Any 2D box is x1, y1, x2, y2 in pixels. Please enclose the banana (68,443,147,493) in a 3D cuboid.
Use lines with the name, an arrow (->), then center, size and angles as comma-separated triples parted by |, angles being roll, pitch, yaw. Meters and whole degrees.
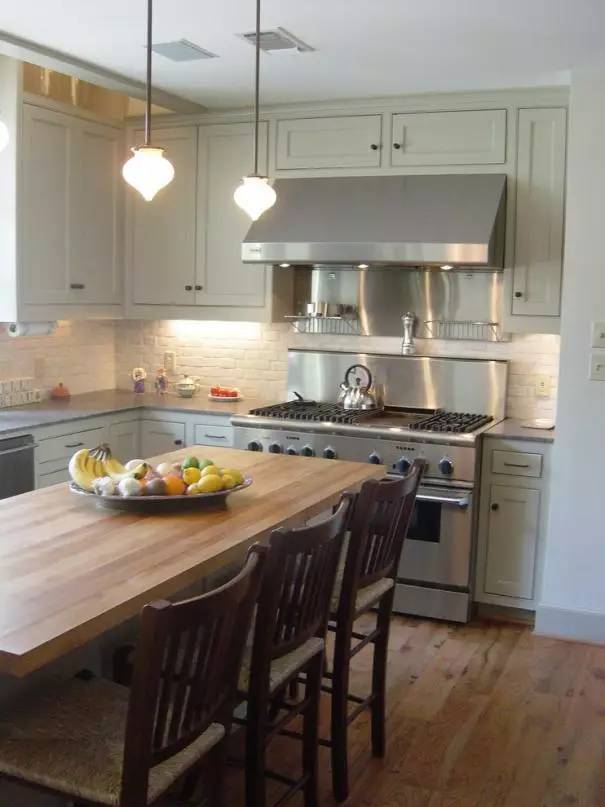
banana -> -0.563, 0.185, 1.922 | 0.198, 0.142, 0.201 | 7, 16, 24

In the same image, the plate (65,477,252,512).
plate -> -0.404, 0.237, 1.961 | 0.448, 0.061, 0.379 | 4, 10, 24

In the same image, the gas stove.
gas stove -> 0.346, 0.224, 3.696 | 1.327, 0.312, 0.724 | 4, 8, 26

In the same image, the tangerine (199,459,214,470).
tangerine -> -0.282, 0.189, 1.956 | 0.035, 0.039, 0.034 | -14, 23, -28

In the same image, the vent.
vent -> 0.359, -0.992, 3.496 | 1.344, 0.586, 0.316 | 2, 3, 23

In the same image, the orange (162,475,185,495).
orange -> -0.357, 0.231, 1.824 | 0.051, 0.051, 0.053 | -5, -29, 27

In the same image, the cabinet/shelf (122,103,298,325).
cabinet/shelf -> -0.472, -1.100, 4.526 | 1.617, 1.774, 0.582 | 4, 6, 23

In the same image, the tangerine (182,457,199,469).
tangerine -> -0.332, 0.179, 1.988 | 0.031, 0.048, 0.049 | 5, 10, 3

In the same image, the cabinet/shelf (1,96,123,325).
cabinet/shelf -> -1.601, -1.019, 3.911 | 0.425, 1.323, 0.954 | 4, 6, 26

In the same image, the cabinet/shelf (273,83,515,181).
cabinet/shelf -> 0.458, -1.448, 3.589 | 1.706, 0.428, 0.333 | 3, 12, 19

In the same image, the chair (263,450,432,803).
chair -> 0.118, 0.649, 2.080 | 0.477, 0.891, 0.446 | 4, 5, 30

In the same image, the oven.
oven -> 0.602, 0.754, 3.658 | 0.714, 0.726, 0.670 | 4, 8, 21

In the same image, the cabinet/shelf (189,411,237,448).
cabinet/shelf -> -0.510, 0.140, 3.871 | 0.277, 0.244, 0.182 | 3, 6, 22

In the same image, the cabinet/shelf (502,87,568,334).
cabinet/shelf -> 1.160, -0.917, 3.242 | 0.365, 1.010, 0.193 | 1, 12, 16
